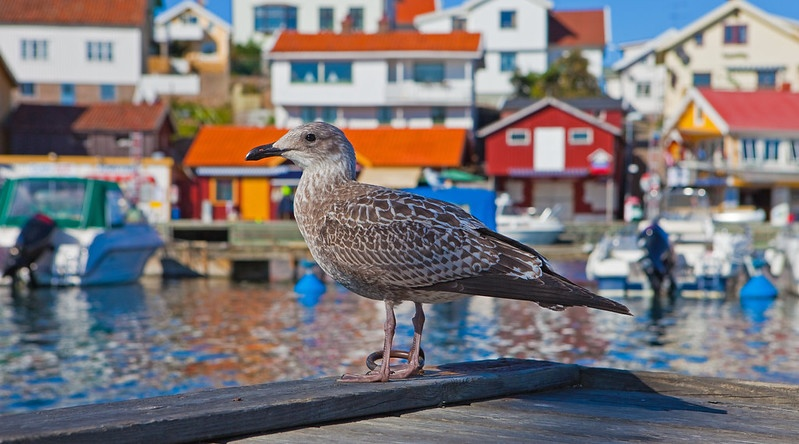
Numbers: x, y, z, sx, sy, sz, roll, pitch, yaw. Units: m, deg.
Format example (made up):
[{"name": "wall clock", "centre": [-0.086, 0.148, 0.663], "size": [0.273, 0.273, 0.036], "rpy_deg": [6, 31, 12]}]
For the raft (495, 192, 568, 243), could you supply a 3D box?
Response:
[{"name": "raft", "centre": [4.086, 0.034, 52.584], "size": [1.472, 1.188, 2.911], "rpy_deg": [-3, 3, -43]}]
